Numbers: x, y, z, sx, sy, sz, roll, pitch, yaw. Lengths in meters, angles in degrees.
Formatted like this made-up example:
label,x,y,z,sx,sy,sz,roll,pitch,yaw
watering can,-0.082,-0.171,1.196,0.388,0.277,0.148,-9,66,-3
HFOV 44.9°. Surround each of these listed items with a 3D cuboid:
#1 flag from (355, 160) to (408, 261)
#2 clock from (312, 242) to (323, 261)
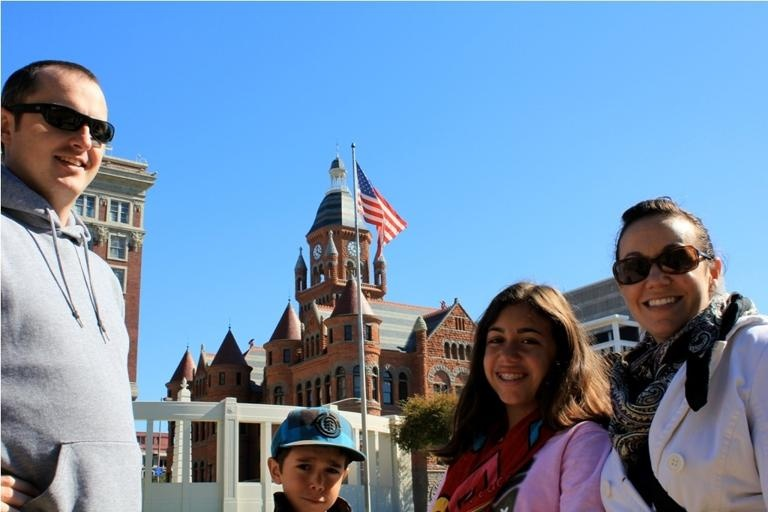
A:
label,x,y,z,sx,sy,sz,roll,pitch,yaw
flag,-0.131,-1.460,29.571,1.368,2.931,2.216,7,-9,-33
clock,-5.224,-0.352,75.417,0.076,1.342,1.319,8,-11,-29
